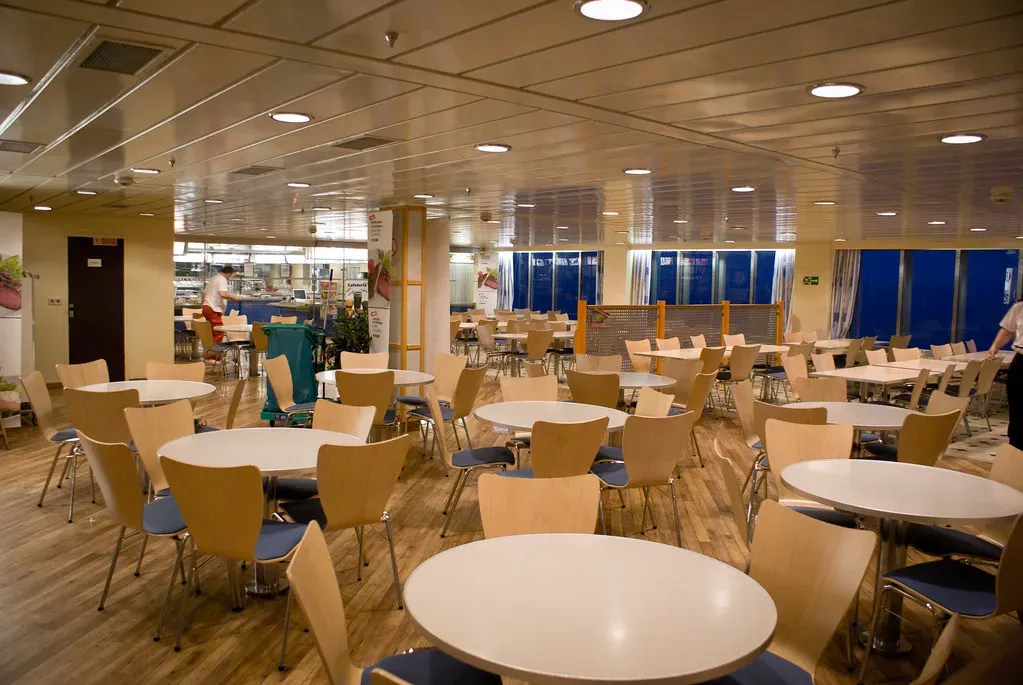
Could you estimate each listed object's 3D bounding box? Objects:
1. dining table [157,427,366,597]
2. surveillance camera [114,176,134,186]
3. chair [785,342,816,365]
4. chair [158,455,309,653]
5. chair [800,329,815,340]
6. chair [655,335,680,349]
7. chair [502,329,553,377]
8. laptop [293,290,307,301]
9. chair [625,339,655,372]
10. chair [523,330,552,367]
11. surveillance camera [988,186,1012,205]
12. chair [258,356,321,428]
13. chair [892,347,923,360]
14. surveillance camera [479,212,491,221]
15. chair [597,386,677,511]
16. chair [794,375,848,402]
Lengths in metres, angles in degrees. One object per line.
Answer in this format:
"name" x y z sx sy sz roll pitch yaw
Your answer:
"dining table" -1.798 1.121 4.788 1.238 0.845 1.238 2 2 0
"surveillance camera" -4.510 -1.872 7.705 0.192 0.047 0.196 1 -2 -41
"chair" 4.223 0.176 9.690 0.253 0.424 0.290 -6 19 -15
"chair" -1.623 0.980 3.926 0.810 0.615 0.508 1 -2 -29
"chair" 5.639 -0.131 12.624 0.423 0.151 0.303 7 -5 -35
"chair" 2.573 0.004 10.849 0.227 0.376 0.251 -3 5 -21
"chair" 0.311 0.160 11.923 0.749 1.215 0.838 -2 11 -26
"laptop" -5.524 -1.204 17.241 0.305 0.227 0.029 -4 -10 -11
"chair" 1.924 0.211 10.118 0.418 0.698 0.471 -2 2 -23
"chair" 0.461 0.102 11.483 0.494 0.780 0.534 -2 15 -19
"surveillance camera" 5.141 -1.556 6.985 0.226 0.171 0.226 2 7 -2
"chair" -2.454 0.516 7.418 0.532 0.747 0.532 0 -2 0
"chair" 6.065 0.189 10.169 0.278 0.332 0.264 0 6 -11
"surveillance camera" -0.466 -2.218 11.732 0.185 0.063 0.182 -2 6 -23
"chair" 1.129 0.773 6.124 0.608 0.998 0.685 -1 6 -21
"chair" 3.139 0.470 6.775 0.331 0.450 0.310 0 2 0
